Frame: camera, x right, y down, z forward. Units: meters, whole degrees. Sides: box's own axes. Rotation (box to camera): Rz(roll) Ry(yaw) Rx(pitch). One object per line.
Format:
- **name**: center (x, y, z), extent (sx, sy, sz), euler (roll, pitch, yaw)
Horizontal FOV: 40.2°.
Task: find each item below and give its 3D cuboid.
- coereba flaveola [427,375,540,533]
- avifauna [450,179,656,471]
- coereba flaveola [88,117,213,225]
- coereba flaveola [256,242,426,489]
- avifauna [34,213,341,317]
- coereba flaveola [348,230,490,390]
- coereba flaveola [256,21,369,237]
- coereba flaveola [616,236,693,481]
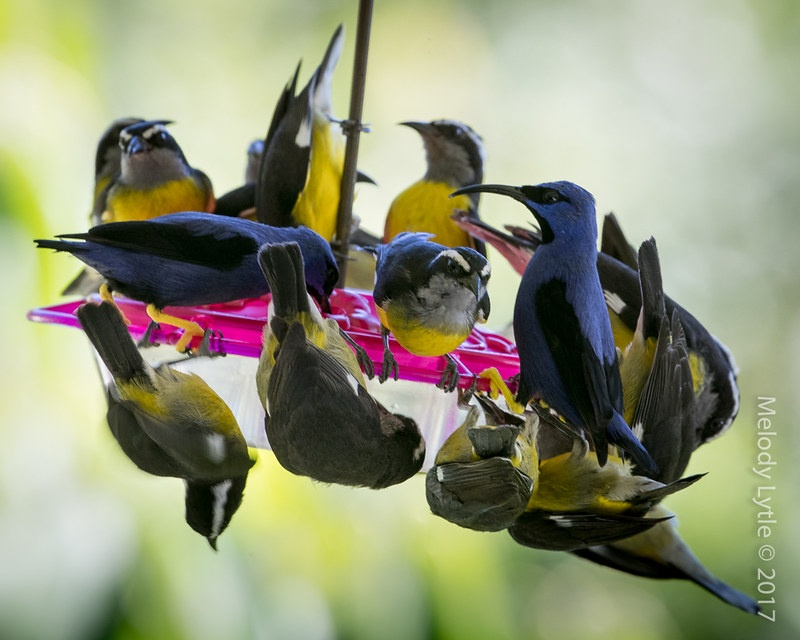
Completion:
- **coereba flaveola**: center (0.120, 0.271, 2.257), extent (0.162, 0.275, 0.283), euler (7, 28, -17)
- **avifauna**: center (0.358, 0.006, 2.355), extent (0.390, 0.602, 0.168), euler (7, 6, 39)
- **coereba flaveola**: center (-0.676, -0.377, 2.788), extent (0.362, 0.275, 0.222), euler (5, 5, 21)
- **coereba flaveola**: center (-0.175, 0.040, 2.429), extent (0.210, 0.296, 0.662), euler (-9, 36, -18)
- **avifauna**: center (-0.451, -0.113, 2.394), extent (0.566, 0.229, 0.265), euler (17, -8, -8)
- **coereba flaveola**: center (0.026, -0.054, 2.414), extent (0.157, 0.252, 0.456), euler (3, 32, -14)
- **coereba flaveola**: center (-0.237, -0.461, 2.678), extent (0.222, 0.527, 0.220), euler (2, 5, -12)
- **coereba flaveola**: center (0.567, 0.103, 2.414), extent (0.158, 0.549, 0.216), euler (-1, 22, 2)
